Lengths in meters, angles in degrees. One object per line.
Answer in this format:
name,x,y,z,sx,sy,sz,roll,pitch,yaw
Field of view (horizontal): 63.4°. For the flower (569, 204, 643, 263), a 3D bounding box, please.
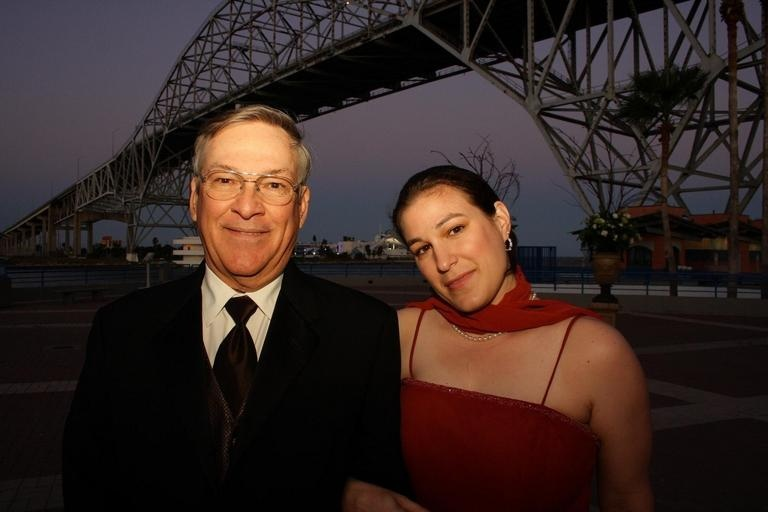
flower,3.682,-0.496,10.294,0.939,0.786,1.007,-10,17,-18
